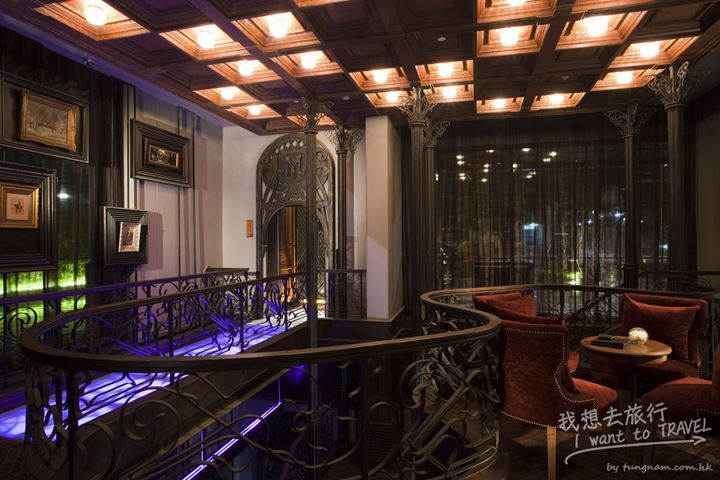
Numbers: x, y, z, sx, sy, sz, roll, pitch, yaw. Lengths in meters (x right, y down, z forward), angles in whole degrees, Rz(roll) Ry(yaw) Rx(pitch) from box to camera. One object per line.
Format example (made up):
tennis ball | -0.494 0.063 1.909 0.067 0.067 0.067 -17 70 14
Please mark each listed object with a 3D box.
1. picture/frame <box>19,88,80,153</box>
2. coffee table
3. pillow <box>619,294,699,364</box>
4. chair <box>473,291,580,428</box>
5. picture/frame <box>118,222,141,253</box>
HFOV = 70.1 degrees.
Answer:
picture/frame | -5.103 -1.949 8.374 0.081 1.137 1.106 -1 -3 30
coffee table | 3.555 2.004 6.895 1.255 1.537 1.321 4 11 41
pillow | 4.110 1.248 7.035 0.291 0.735 0.762 23 -13 -38
chair | 2.304 1.457 7.326 1.298 1.744 1.307 -7 -8 27
picture/frame | -4.259 -0.063 9.471 0.066 0.589 0.548 1 -1 24
